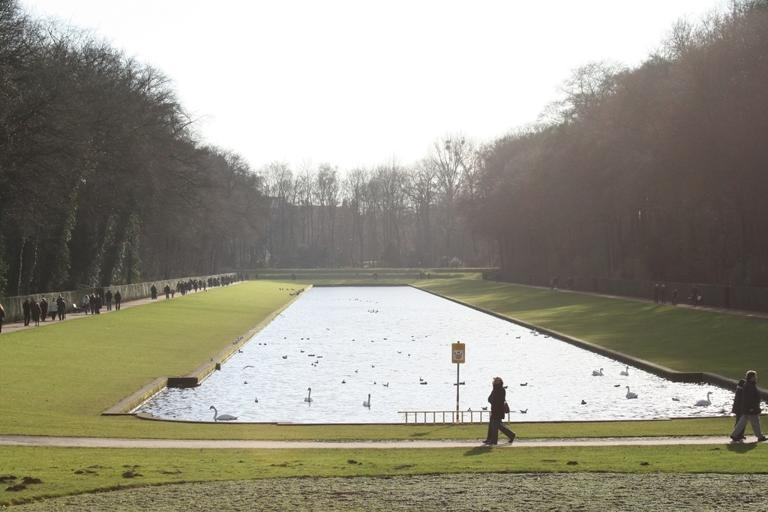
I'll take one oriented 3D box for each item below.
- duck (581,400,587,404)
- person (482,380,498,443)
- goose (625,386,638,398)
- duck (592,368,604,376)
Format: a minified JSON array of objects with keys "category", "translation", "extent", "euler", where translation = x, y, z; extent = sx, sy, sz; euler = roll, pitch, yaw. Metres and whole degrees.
[{"category":"duck","translation":[8.718,6.411,41.110],"extent":[0.156,0.129,0.105],"euler":[-1,-6,-1]},{"category":"person","translation":[3.976,5.635,34.257],"extent":[0.687,2.370,0.829],"euler":[-1,-6,5]},{"category":"goose","translation":[11.029,6.095,41.974],"extent":[0.517,0.503,1.204],"euler":[-2,-6,14]},{"category":"duck","translation":[10.494,5.744,46.091],"extent":[0.591,0.342,0.284],"euler":[0,2,5]}]
